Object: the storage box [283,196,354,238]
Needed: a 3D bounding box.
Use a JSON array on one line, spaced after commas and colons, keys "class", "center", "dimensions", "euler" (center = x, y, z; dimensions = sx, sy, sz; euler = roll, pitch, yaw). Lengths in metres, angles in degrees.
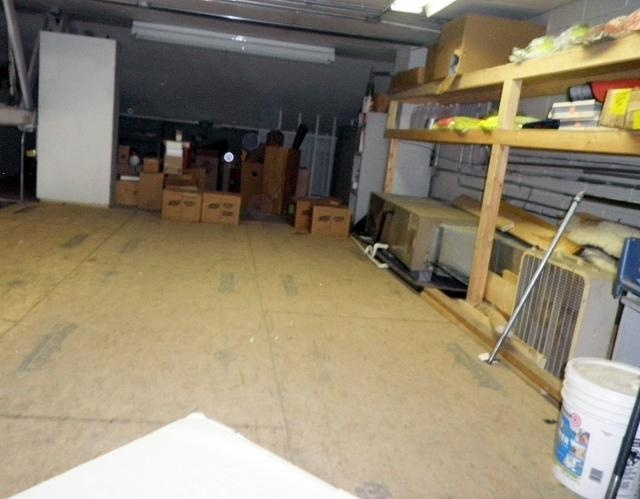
[{"class": "storage box", "center": [0.035, -0.456, 5.965], "dimensions": [0.652, 0.370, 0.621], "euler": [-3, 18, -15]}]
